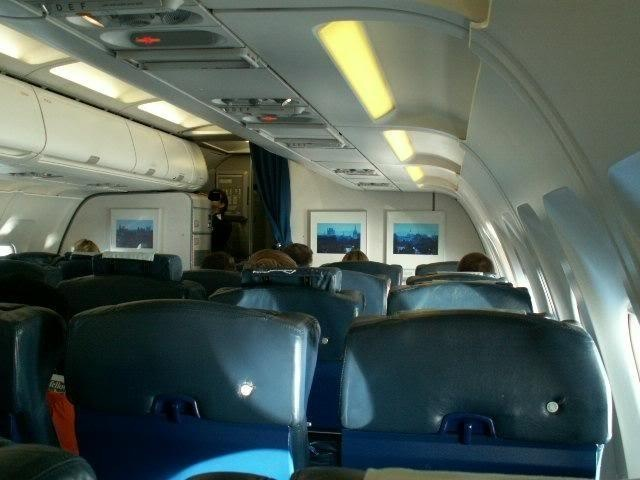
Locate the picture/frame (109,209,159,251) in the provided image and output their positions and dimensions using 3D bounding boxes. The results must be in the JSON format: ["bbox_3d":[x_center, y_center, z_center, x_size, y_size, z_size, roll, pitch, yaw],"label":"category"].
[{"bbox_3d":[-4.195,-0.189,9.968,1.802,1.072,0.033,2,1,28],"label":"picture/frame"}]

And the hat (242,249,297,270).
[{"bbox_3d":[-0.333,0.142,3.062,0.260,0.069,0.221,0,3,-22],"label":"hat"}]

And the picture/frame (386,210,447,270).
[{"bbox_3d":[2.116,0.018,9.901,1.738,1.317,0.061,1,0,-31],"label":"picture/frame"}]

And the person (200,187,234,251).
[{"bbox_3d":[-2.355,-0.501,10.341,0.615,1.510,0.683,4,-8,-10],"label":"person"}]
